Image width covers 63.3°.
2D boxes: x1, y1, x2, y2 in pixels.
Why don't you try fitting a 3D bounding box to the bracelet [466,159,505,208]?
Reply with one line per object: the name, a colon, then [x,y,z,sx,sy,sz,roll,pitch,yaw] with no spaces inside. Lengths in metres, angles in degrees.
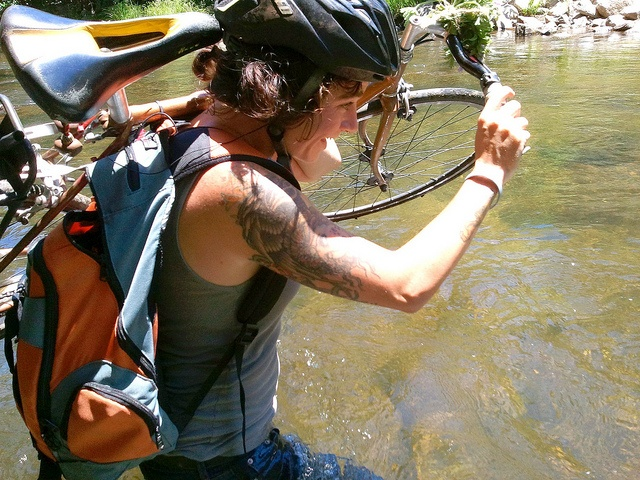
bracelet: [0.486,-0.160,1.577,0.105,0.142,0.083,23,79,6]
